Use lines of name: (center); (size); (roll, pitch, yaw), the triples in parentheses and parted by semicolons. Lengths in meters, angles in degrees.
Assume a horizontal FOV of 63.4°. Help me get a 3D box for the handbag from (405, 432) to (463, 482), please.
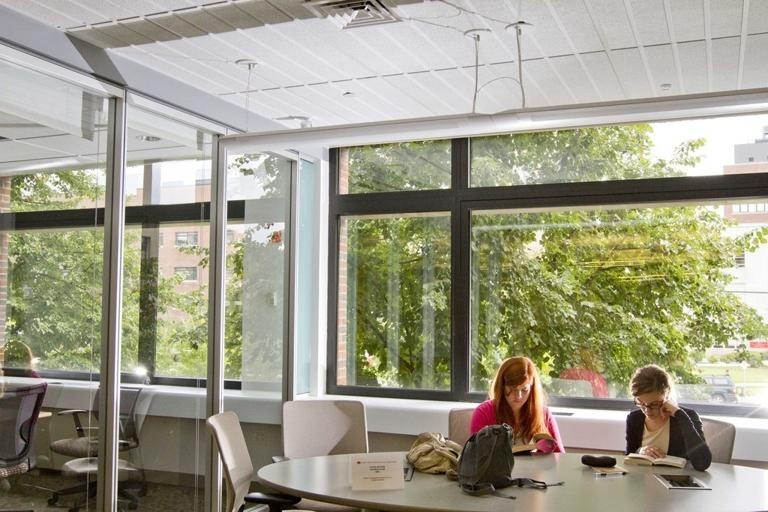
handbag: (0.386, 1.379, 4.422); (0.333, 0.366, 0.156); (-11, 30, -12)

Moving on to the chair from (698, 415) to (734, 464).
chair: (2.570, 1.401, 4.759); (0.327, 0.387, 0.299); (-1, -11, 29)

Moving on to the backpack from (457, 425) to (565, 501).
backpack: (0.801, 1.310, 4.008); (0.702, 0.388, 0.604); (-5, -12, 21)
